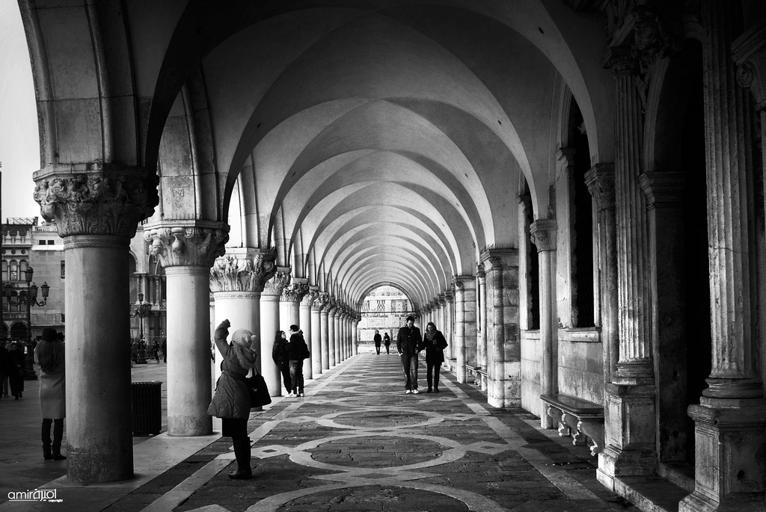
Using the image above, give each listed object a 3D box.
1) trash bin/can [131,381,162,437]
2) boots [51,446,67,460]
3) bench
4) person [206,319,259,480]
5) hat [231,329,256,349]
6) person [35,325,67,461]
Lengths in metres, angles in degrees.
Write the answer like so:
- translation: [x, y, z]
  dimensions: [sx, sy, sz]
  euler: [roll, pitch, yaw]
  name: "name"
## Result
- translation: [-4.039, 2.602, 14.631]
  dimensions: [0.481, 0.906, 0.522]
  euler: [2, -7, -17]
  name: "trash bin/can"
- translation: [-4.912, 2.953, 12.945]
  dimensions: [0.191, 0.186, 0.465]
  euler: [2, -8, -21]
  name: "boots"
- translation: [2.956, 2.564, 13.154]
  dimensions: [0.512, 0.644, 2.100]
  euler: [-5, -4, -3]
  name: "bench"
- translation: [-2.055, 1.996, 11.618]
  dimensions: [0.587, 1.988, 0.342]
  euler: [1, -7, -11]
  name: "person"
- translation: [-1.877, 1.148, 11.836]
  dimensions: [0.378, 0.294, 0.286]
  euler: [-4, 9, -22]
  name: "hat"
- translation: [-5.019, 2.058, 12.911]
  dimensions: [0.461, 1.954, 0.547]
  euler: [1, -7, -13]
  name: "person"
